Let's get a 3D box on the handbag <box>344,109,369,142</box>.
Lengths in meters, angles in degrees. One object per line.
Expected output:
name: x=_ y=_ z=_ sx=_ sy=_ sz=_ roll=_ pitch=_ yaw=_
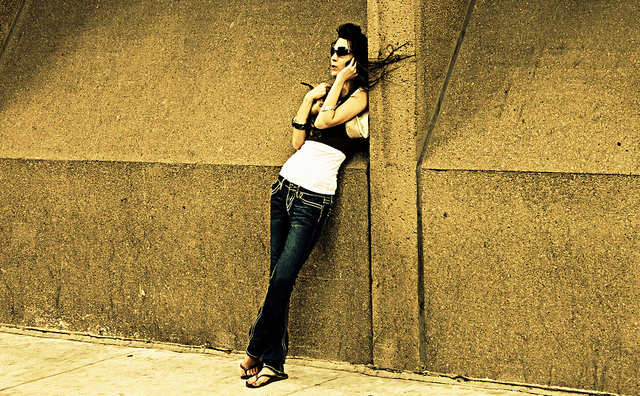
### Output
handbag: x=0.340 y=-0.704 z=8.329 sx=0.248 sy=0.139 sz=0.252 roll=-48 pitch=31 yaw=15

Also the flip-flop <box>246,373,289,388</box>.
flip-flop: x=-0.480 y=1.602 z=8.180 sx=0.345 sy=0.081 sz=0.123 roll=-3 pitch=5 yaw=-31
